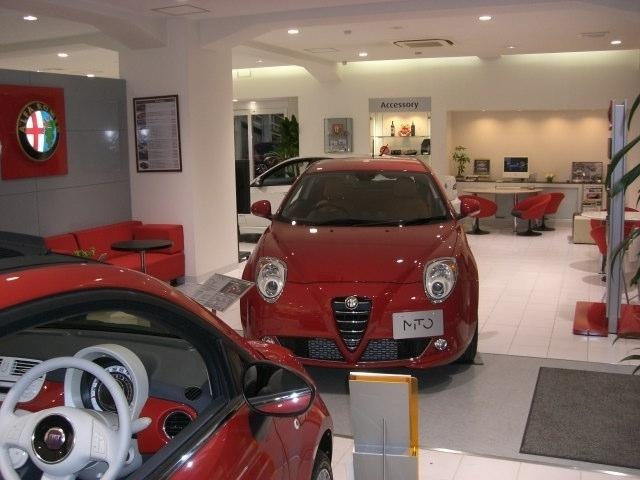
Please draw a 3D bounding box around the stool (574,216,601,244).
[{"bbox_3d":[5.161,-0.220,8.417,0.550,0.547,0.565,0,4,12],"label":"stool"}]

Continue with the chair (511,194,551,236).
[{"bbox_3d":[5.124,-0.657,10.650,0.874,0.961,0.889,4,6,28],"label":"chair"}]

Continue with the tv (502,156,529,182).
[{"bbox_3d":[5.289,-1.936,11.761,0.690,0.703,0.269,1,1,23],"label":"tv"}]

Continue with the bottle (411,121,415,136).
[{"bbox_3d":[2.557,-3.088,12.038,0.154,0.361,0.068,1,9,13],"label":"bottle"}]

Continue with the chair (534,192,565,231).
[{"bbox_3d":[5.734,-0.744,11.153,0.856,0.920,0.865,0,4,-8],"label":"chair"}]

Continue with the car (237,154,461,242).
[{"bbox_3d":[0.628,-1.105,9.818,5.250,1.788,2.436,2,6,1],"label":"car"}]

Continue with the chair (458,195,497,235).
[{"bbox_3d":[3.653,-0.608,10.104,0.826,0.880,0.817,-4,4,-11],"label":"chair"}]

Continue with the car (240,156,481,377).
[{"bbox_3d":[0.508,-0.001,4.405,1.534,1.129,2.479,0,6,10],"label":"car"}]

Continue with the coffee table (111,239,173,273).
[{"bbox_3d":[-2.132,0.220,5.212,0.653,0.486,0.646,1,-6,-24],"label":"coffee table"}]
